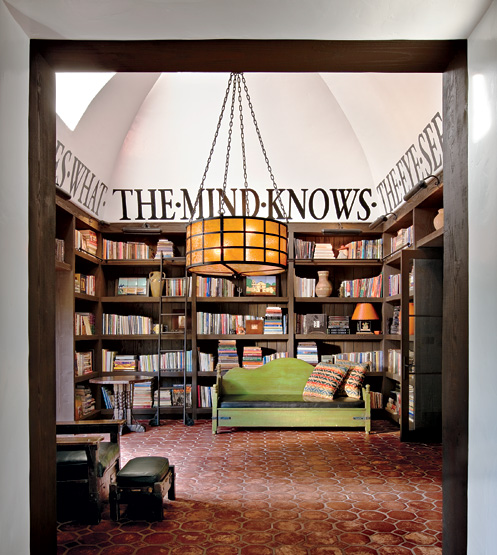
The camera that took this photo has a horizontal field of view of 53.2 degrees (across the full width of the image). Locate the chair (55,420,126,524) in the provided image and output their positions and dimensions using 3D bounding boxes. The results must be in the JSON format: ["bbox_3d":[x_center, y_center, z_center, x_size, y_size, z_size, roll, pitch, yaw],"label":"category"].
[{"bbox_3d":[-1.094,1.309,3.460,0.453,0.486,0.724,0,-9,1],"label":"chair"}]

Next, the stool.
[{"bbox_3d":[-0.731,1.441,3.486,0.324,0.324,0.576,-1,-9,1],"label":"stool"}]

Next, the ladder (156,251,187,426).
[{"bbox_3d":[-1.026,0.770,6.728,0.466,2.985,0.071,-1,25,-12],"label":"ladder"}]
